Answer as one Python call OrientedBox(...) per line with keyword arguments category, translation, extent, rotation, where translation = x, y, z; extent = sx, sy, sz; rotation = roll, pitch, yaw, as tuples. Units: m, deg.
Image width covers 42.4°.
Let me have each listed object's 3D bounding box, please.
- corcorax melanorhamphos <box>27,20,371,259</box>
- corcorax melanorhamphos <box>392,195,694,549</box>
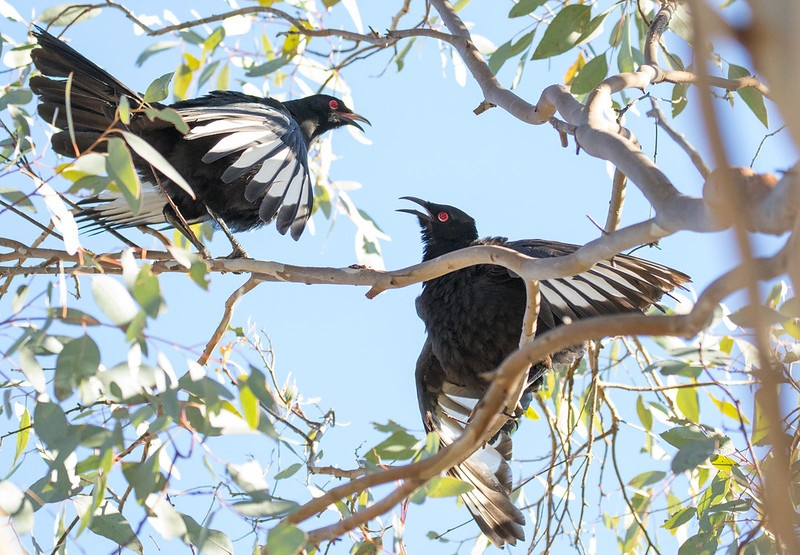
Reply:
OrientedBox(category="corcorax melanorhamphos", translation=(-1.169, -0.711, 5.680), extent=(1.955, 1.423, 1.060), rotation=(14, -108, -28))
OrientedBox(category="corcorax melanorhamphos", translation=(0.898, 0.258, 5.860), extent=(1.656, 1.489, 2.715), rotation=(6, -43, 13))
